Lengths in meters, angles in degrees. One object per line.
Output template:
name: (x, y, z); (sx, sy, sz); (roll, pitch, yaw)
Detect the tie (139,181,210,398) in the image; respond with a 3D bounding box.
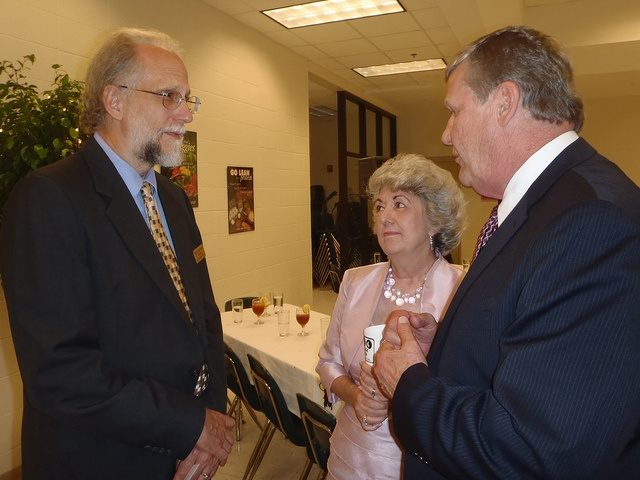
tie: (-0.559, 0.210, 1.677); (0.087, 0.910, 0.089); (-12, -16, -32)

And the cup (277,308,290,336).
cup: (-0.262, 0.626, 3.341); (0.121, 0.222, 0.125); (-1, 2, 0)

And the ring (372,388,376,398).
ring: (0.186, 0.534, 1.546); (0.006, 0.028, 0.018); (3, 8, -13)

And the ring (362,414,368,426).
ring: (0.164, 0.663, 1.633); (0.023, 0.037, 0.036); (-5, 43, 5)
